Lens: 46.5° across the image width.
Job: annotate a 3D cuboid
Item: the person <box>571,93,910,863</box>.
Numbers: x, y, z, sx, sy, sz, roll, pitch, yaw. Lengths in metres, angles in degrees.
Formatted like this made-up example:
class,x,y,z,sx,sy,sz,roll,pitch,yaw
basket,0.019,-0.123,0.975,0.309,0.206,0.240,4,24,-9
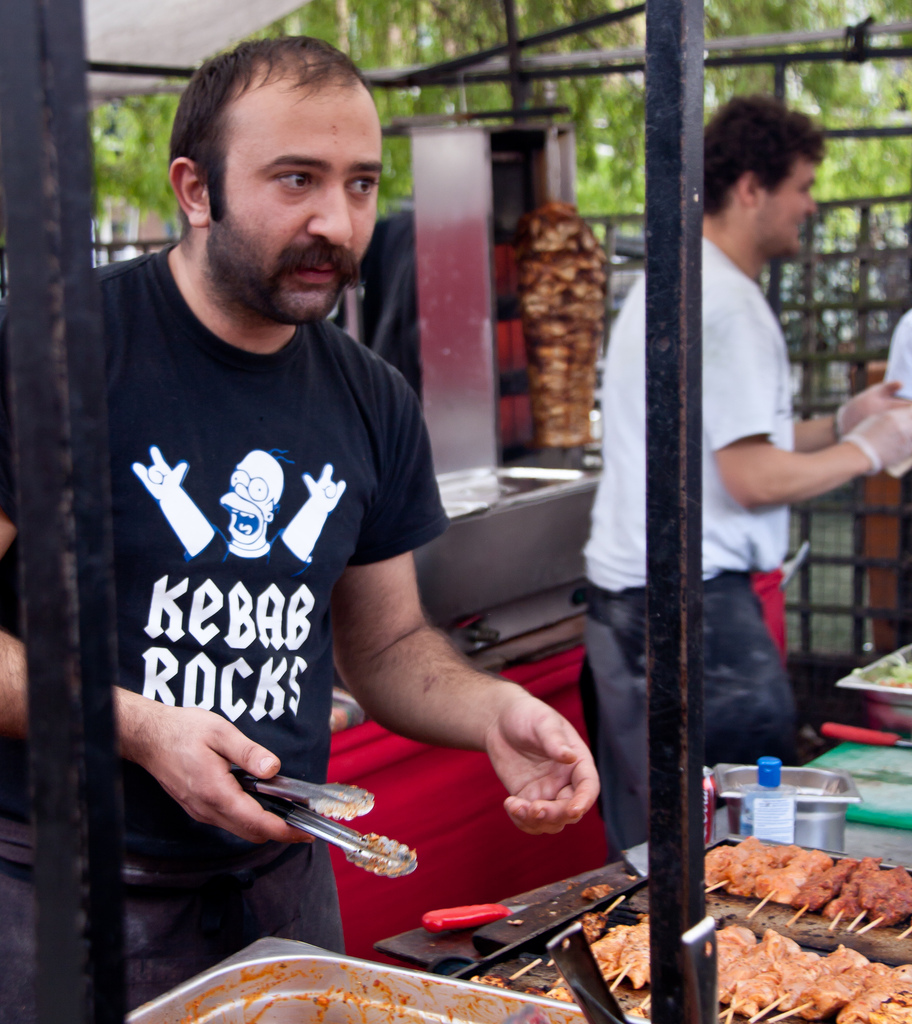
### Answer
class,x,y,z,sx,sy,sz,roll,pitch,yaw
person,0.608,0.030,2.751,0.864,1.934,0.802,-4,9,-27

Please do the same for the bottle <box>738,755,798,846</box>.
class,x,y,z,sx,sy,sz,roll,pitch,yaw
bottle,0.593,0.541,2.014,0.107,0.175,0.096,-3,8,-2
